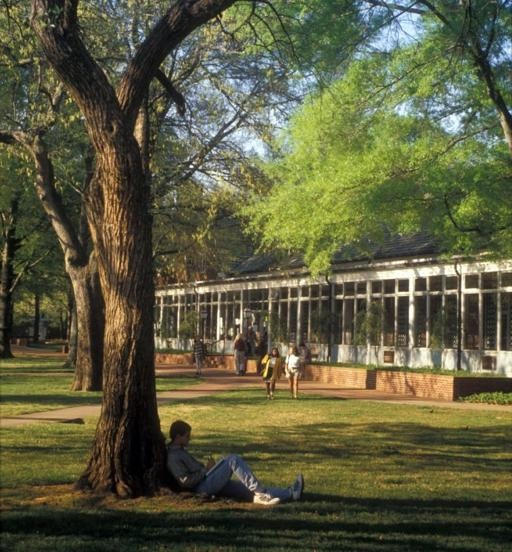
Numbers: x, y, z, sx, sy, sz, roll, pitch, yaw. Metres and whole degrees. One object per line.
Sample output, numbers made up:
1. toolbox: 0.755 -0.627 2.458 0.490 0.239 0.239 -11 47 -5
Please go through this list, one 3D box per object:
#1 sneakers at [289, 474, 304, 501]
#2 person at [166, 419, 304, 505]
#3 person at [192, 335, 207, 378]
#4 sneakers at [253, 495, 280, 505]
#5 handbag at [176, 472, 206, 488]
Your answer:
1. sneakers: 0.537 2.742 13.856 0.155 0.460 0.132 7 0 36
2. person: -0.293 2.442 14.129 1.681 1.345 0.871 -7 -7 2
3. person: -2.055 2.747 38.214 0.522 1.487 0.318 -2 21 4
4. sneakers: 0.115 2.871 13.770 0.310 0.189 0.136 1 1 4
5. handbag: -0.861 2.652 13.879 0.377 0.200 0.126 5 -9 -30
